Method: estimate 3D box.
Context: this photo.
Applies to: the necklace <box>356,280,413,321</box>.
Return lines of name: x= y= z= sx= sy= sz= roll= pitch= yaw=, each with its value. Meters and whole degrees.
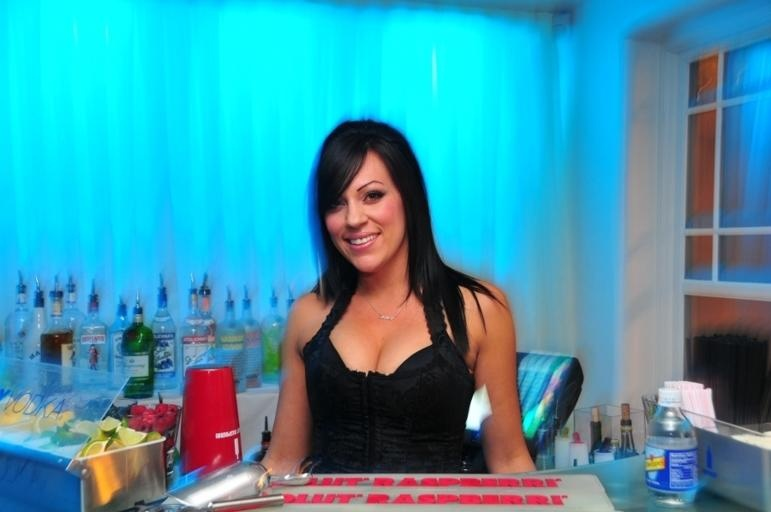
necklace: x=0.006 y=0.153 z=2.142 sx=0.123 sy=0.128 sz=0.038 roll=0 pitch=4 yaw=9

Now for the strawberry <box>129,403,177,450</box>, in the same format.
strawberry: x=-0.603 y=0.438 z=1.661 sx=0.112 sy=0.089 sz=0.123 roll=3 pitch=-7 yaw=-32

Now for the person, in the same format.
person: x=0.025 y=0.138 z=2.133 sx=0.895 sy=1.174 sz=0.304 roll=-1 pitch=-3 yaw=13

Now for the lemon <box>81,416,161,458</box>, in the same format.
lemon: x=-0.616 y=0.398 z=1.435 sx=0.092 sy=0.039 sz=0.093 roll=-3 pitch=-2 yaw=41

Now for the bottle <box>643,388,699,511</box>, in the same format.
bottle: x=0.702 y=0.470 z=1.569 sx=0.119 sy=0.261 sz=0.079 roll=-1 pitch=-3 yaw=13
